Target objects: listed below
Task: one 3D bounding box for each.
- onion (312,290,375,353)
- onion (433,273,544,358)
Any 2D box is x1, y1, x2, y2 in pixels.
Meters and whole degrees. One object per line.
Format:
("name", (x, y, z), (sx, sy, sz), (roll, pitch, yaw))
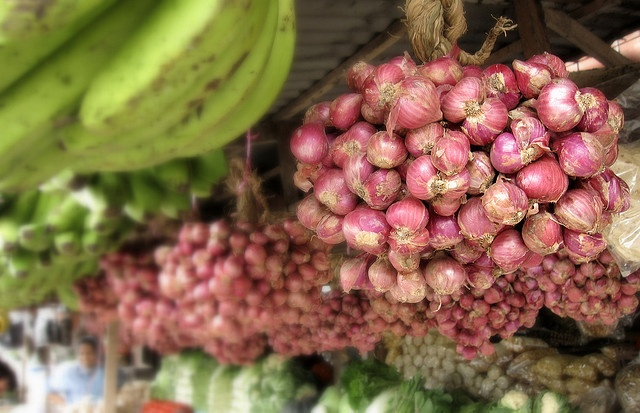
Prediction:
("onion", (0.180, 0.683, 3.786), (0.191, 0.373, 0.279), (-13, 34, 42))
("onion", (0.913, 0.580, 3.615), (0.537, 0.256, 0.410), (-29, 80, 18))
